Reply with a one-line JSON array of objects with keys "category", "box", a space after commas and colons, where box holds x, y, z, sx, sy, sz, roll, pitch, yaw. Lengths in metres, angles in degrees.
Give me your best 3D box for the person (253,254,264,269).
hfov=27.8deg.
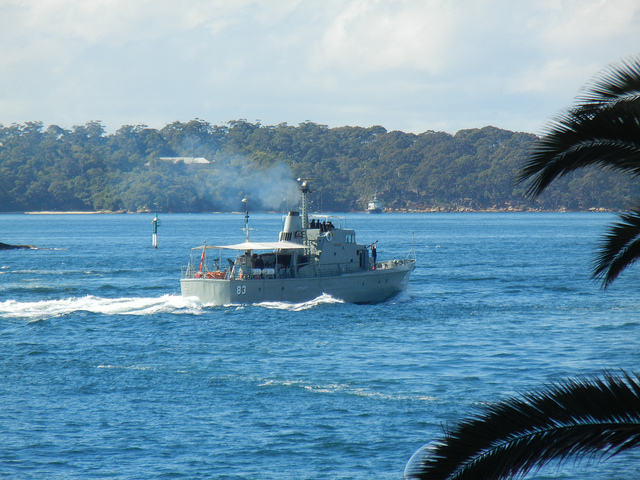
[{"category": "person", "box": [-4.378, 1.444, 89.554, 0.690, 0.877, 1.118, 0, 9, 9]}]
